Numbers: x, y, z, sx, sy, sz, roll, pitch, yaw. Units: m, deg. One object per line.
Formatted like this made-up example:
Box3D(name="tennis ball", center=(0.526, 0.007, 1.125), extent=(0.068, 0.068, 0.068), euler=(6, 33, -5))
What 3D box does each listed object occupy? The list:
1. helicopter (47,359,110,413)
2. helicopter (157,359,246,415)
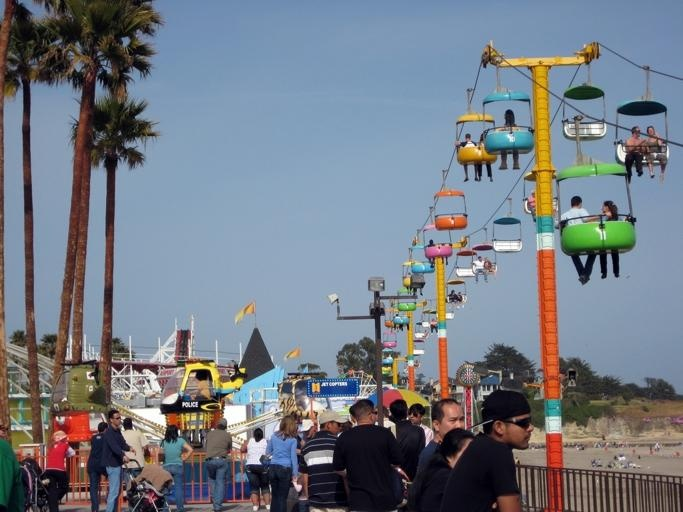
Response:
Box3D(name="helicopter", center=(-11.213, 5.746, 79.567), extent=(2.217, 2.245, 0.805), euler=(2, -10, -7))
Box3D(name="helicopter", center=(-6.029, 5.794, 82.897), extent=(3.594, 2.401, 2.378), euler=(-1, 7, 1))
